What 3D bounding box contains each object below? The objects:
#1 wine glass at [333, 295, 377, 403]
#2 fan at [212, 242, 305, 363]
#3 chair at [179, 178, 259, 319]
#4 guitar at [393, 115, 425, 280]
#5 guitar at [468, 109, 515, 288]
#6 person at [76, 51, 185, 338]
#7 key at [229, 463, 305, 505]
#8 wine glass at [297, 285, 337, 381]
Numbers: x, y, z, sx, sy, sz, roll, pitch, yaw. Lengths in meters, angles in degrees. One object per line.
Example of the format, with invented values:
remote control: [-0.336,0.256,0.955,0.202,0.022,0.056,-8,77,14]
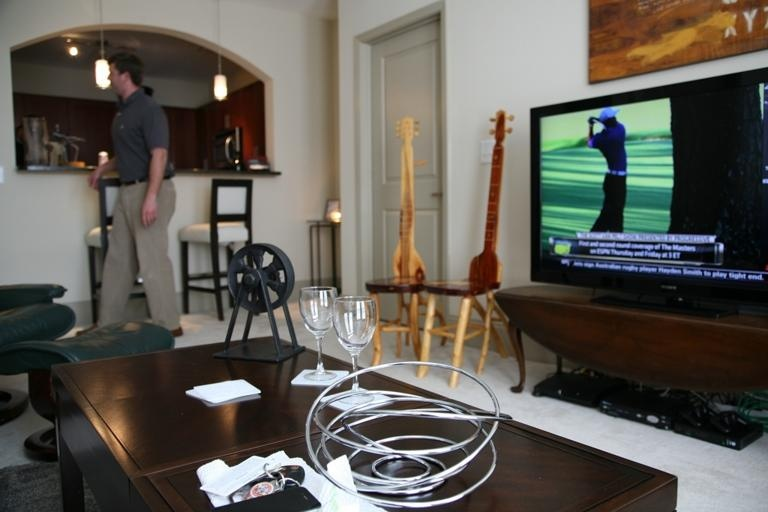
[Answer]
wine glass: [-0.092,0.295,1.804,0.153,0.312,0.166,0,1,34]
fan: [-0.480,0.157,2.209,0.279,0.428,0.232,2,4,21]
chair: [-1.525,-0.113,5.208,0.568,1.195,0.552,5,8,41]
guitar: [0.153,-0.380,3.985,0.286,1.183,0.060,6,-8,-43]
guitar: [0.684,-0.306,3.665,0.252,1.257,0.058,-5,29,-13]
person: [-1.906,-0.442,4.290,0.544,2.062,0.632,0,5,-38]
key: [-0.287,0.549,1.426,0.140,0.034,0.084,-17,25,-37]
wine glass: [-0.226,0.263,1.960,0.132,0.302,0.131,-1,-3,-36]
